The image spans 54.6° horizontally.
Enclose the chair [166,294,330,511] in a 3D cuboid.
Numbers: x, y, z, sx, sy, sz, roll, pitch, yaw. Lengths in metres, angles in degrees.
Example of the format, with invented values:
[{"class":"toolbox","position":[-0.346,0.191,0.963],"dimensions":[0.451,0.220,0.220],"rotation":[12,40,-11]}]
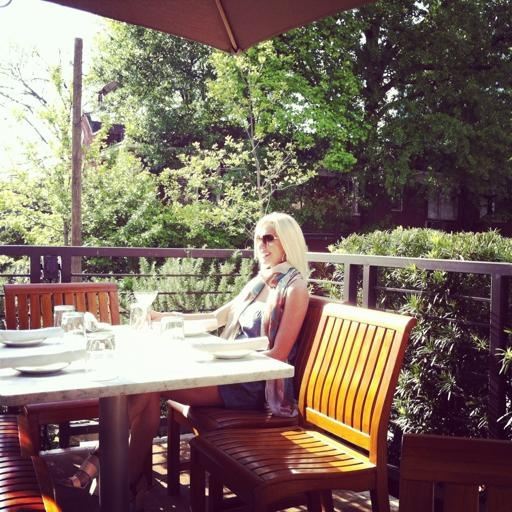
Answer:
[{"class":"chair","position":[-0.019,0.689,2.817],"dimensions":[0.942,1.493,0.756],"rotation":[5,-4,-22]}]

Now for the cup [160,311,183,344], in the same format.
[{"class":"cup","position":[-0.340,0.281,2.012],"dimensions":[0.084,0.086,0.088],"rotation":[0,-3,0]}]

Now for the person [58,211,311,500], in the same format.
[{"class":"person","position":[-0.298,0.459,2.413],"dimensions":[1.091,1.391,0.635],"rotation":[5,3,-22]}]

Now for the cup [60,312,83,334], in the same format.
[{"class":"cup","position":[-0.675,0.237,1.827],"dimensions":[0.074,0.079,0.078],"rotation":[0,0,0]}]

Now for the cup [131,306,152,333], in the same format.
[{"class":"cup","position":[-0.513,0.300,2.319],"dimensions":[0.101,0.128,0.107],"rotation":[0,-7,0]}]
